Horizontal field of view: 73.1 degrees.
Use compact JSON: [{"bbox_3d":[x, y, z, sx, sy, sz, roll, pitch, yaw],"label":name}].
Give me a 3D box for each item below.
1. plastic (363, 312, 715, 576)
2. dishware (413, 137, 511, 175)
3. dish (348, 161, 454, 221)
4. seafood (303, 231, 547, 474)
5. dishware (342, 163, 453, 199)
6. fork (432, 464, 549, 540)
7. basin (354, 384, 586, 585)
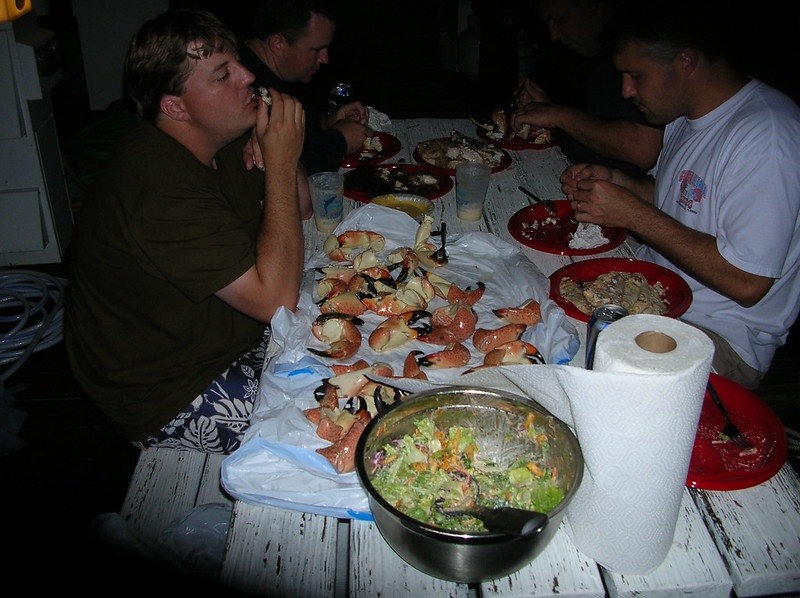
[{"bbox_3d":[0.354,0.268,1.041,0.391,0.484,0.221,10,37,19],"label":"plastic"},{"bbox_3d":[0.305,-0.710,2.677,0.351,0.040,0.346,22,37,24],"label":"dishware"},{"bbox_3d":[-0.013,-0.536,2.453,0.372,0.088,0.353,2,35,2],"label":"dish"},{"bbox_3d":[0.049,0.181,1.678,0.566,0.144,0.814,-1,36,-4],"label":"seafood"},{"bbox_3d":[-0.022,-0.541,2.461,0.309,0.033,0.279,2,33,2],"label":"dishware"},{"bbox_3d":[0.150,0.354,0.959,0.061,0.039,0.223,-14,6,-31],"label":"fork"},{"bbox_3d":[0.125,0.397,1.101,0.415,0.179,0.389,-2,33,1],"label":"basin"}]
